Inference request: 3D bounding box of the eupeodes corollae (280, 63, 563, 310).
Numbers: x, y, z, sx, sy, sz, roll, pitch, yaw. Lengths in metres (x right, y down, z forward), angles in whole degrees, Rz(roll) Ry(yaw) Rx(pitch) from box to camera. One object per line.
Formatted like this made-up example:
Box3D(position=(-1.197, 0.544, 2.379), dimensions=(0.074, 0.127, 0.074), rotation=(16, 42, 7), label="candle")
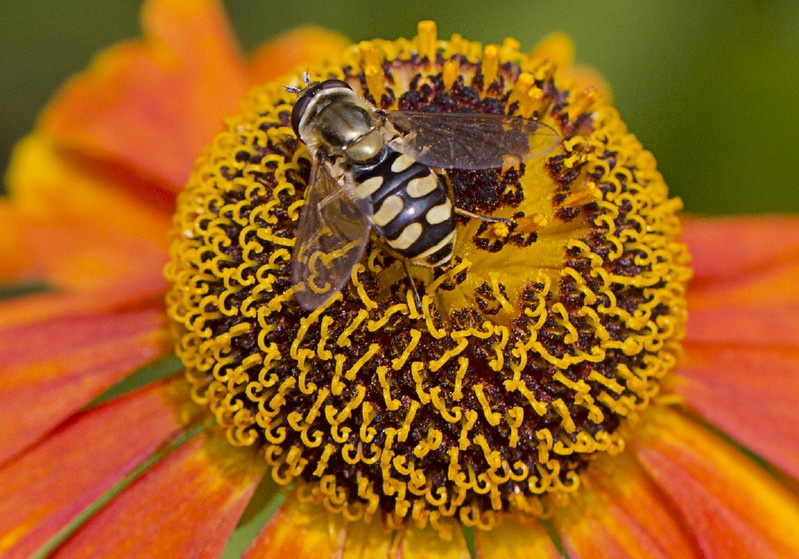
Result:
Box3D(position=(0.050, -0.182, 1.582), dimensions=(0.504, 0.114, 0.475), rotation=(-4, 76, 0), label="eupeodes corollae")
